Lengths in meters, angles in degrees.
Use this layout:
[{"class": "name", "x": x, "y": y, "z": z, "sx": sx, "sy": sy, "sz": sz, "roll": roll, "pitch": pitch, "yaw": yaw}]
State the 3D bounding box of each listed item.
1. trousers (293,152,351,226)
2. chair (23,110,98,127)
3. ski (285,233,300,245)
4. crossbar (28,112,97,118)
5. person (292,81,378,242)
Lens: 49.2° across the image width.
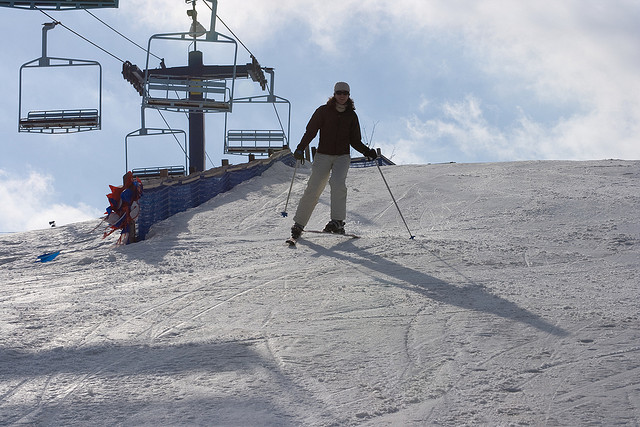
[{"class": "trousers", "x": 0.039, "y": -0.373, "z": 10.040, "sx": 0.871, "sy": 0.991, "sz": 0.466, "roll": -5, "pitch": 13, "yaw": -7}, {"class": "chair", "x": -7.874, "y": -2.916, "z": 21.518, "sx": 2.141, "sy": 0.486, "sz": 0.528, "roll": -2, "pitch": 13, "yaw": 3}, {"class": "ski", "x": -0.366, "y": 0.373, "z": 9.771, "sx": 0.129, "sy": 0.243, "sz": 0.162, "roll": 20, "pitch": -31, "yaw": 11}, {"class": "crossbar", "x": -7.862, "y": -3.045, "z": 21.569, "sx": 2.148, "sy": 0.135, "sz": 0.384, "roll": -1, "pitch": 13, "yaw": 10}, {"class": "person", "x": 0.157, "y": -0.768, "z": 9.985, "sx": 1.258, "sy": 2.151, "sz": 0.376, "roll": -8, "pitch": 13, "yaw": -19}]
